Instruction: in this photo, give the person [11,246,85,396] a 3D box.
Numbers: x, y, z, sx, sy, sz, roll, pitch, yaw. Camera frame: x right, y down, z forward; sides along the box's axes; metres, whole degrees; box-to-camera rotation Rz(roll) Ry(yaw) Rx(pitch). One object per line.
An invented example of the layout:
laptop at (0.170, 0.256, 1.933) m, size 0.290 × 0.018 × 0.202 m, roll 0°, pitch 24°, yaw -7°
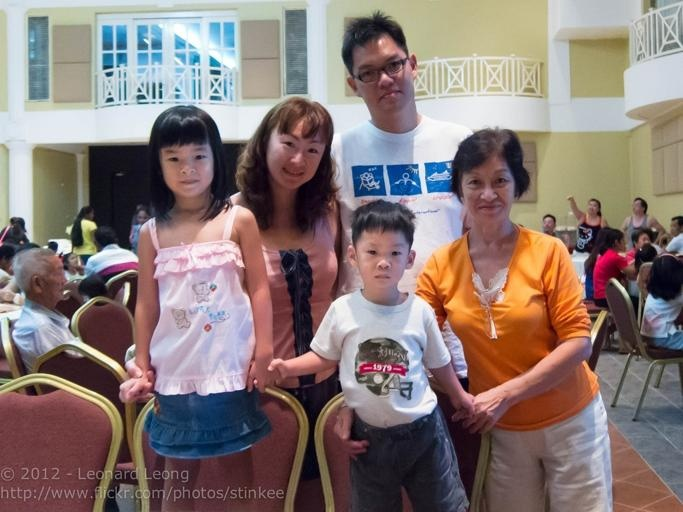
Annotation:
person at (-1.804, 0.323, 4.085) m, size 0.378 × 0.707 × 0.725 m, roll -3°, pitch 3°, yaw -30°
